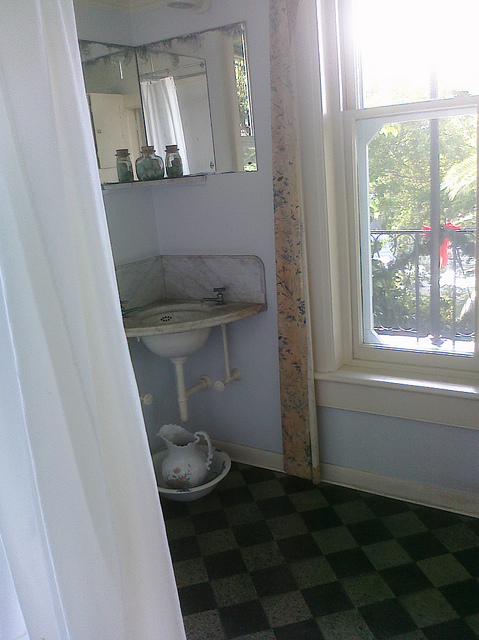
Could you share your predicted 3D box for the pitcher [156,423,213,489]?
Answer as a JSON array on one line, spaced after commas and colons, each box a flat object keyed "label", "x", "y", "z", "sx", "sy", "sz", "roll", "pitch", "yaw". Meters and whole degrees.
[{"label": "pitcher", "x": -0.237, "y": 0.556, "z": 2.275, "sx": 0.227, "sy": 0.262, "sz": 0.237, "roll": 5, "pitch": 17, "yaw": -7}]

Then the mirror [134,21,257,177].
[{"label": "mirror", "x": -0.203, "y": -0.904, "z": 2.279, "sx": 0.539, "sy": 0.571, "sz": 0.011, "roll": 7, "pitch": 27, "yaw": 30}]

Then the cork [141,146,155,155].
[{"label": "cork", "x": -0.398, "y": -0.733, "z": 2.279, "sx": 0.068, "sy": 0.036, "sz": 0.044, "roll": -2, "pitch": 1, "yaw": -4}]

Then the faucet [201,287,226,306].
[{"label": "faucet", "x": -0.098, "y": -0.108, "z": 2.383, "sx": 0.125, "sy": 0.085, "sz": 0.061, "roll": 7, "pitch": 19, "yaw": 26}]
